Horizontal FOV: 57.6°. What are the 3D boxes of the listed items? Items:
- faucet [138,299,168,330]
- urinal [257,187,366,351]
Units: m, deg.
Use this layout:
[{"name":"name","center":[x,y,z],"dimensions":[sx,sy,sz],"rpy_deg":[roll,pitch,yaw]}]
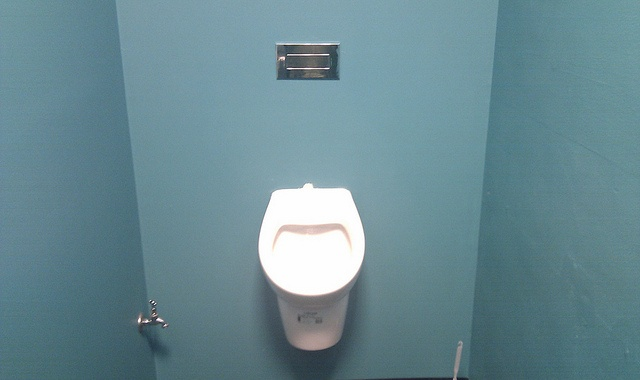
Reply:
[{"name":"faucet","center":[-0.832,0.620,2.905],"dimensions":[0.138,0.078,0.159],"rpy_deg":[3,-75,-11]},{"name":"urinal","center":[-0.042,0.386,2.867],"dimensions":[0.469,0.677,0.520],"rpy_deg":[-2,-46,-1]}]
